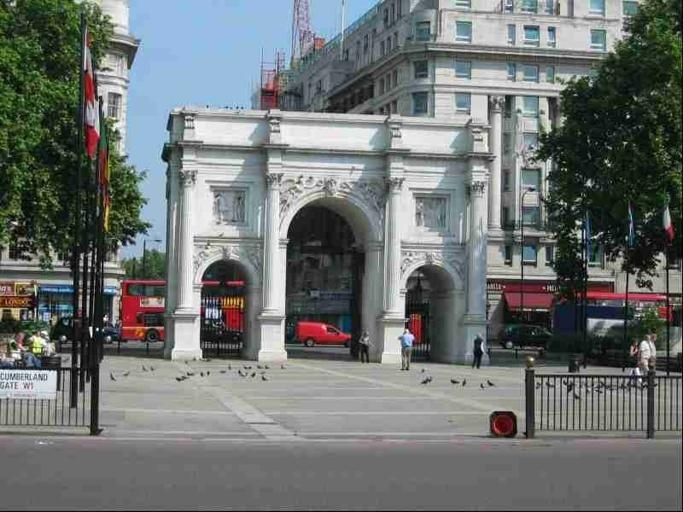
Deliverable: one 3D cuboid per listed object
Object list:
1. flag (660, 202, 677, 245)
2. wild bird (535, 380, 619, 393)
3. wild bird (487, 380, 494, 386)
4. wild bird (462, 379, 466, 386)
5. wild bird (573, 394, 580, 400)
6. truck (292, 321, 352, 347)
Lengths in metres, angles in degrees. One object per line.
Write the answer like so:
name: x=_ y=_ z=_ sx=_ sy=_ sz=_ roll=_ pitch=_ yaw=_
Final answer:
flag: x=16.399 y=-1.763 z=68.703 sx=0.548 sy=2.050 sz=3.614 roll=0 pitch=-5 yaw=13
wild bird: x=8.290 y=4.652 z=48.297 sx=2.736 sy=0.407 sz=0.500 roll=1 pitch=-5 yaw=-2
wild bird: x=6.553 y=5.754 z=61.089 sx=0.145 sy=0.281 sz=0.435 roll=-24 pitch=-33 yaw=33
wild bird: x=5.345 y=5.678 z=60.562 sx=0.128 sy=0.258 sz=0.275 roll=25 pitch=-9 yaw=41
wild bird: x=8.236 y=5.032 z=48.232 sx=0.209 sy=0.190 sz=0.051 roll=0 pitch=-4 yaw=11
truck: x=-1.634 y=6.029 z=101.920 sx=3.361 sy=1.461 sz=1.996 roll=-1 pitch=1 yaw=-5
